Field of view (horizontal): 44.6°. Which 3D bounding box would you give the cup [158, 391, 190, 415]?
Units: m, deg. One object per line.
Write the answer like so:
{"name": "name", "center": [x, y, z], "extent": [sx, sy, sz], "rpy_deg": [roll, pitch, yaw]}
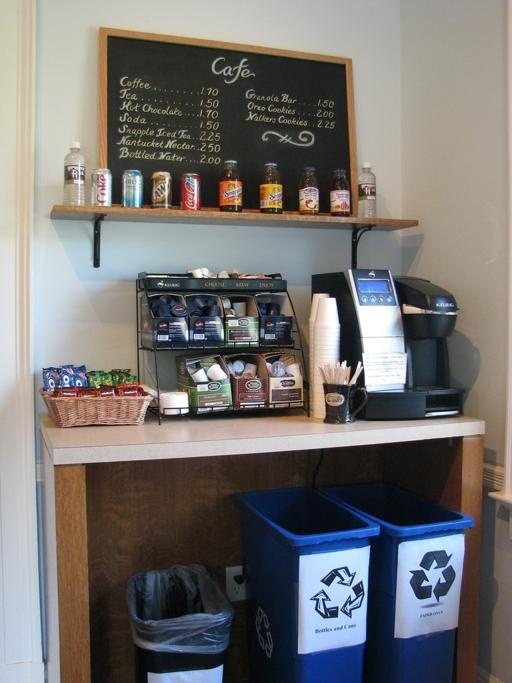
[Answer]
{"name": "cup", "center": [-0.218, 0.165, 1.656], "extent": [0.061, 0.041, 0.062], "rpy_deg": [0, -1, 0]}

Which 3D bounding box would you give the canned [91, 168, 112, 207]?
{"name": "canned", "center": [-0.443, -0.437, 1.785], "extent": [0.060, 0.113, 0.162], "rpy_deg": [-3, 6, -13]}

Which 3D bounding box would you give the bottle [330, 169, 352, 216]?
{"name": "bottle", "center": [0.274, -0.484, 2.030], "extent": [0.060, 0.148, 0.106], "rpy_deg": [-1, 6, 7]}

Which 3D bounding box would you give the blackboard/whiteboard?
{"name": "blackboard/whiteboard", "center": [-0.120, -0.696, 1.971], "extent": [0.675, 0.452, 0.028], "rpy_deg": [0, -3, -24]}

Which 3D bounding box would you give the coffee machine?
{"name": "coffee machine", "center": [0.510, 0.001, 1.771], "extent": [0.255, 0.378, 0.250], "rpy_deg": [-3, 6, -9]}

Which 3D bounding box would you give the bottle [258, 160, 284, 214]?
{"name": "bottle", "center": [0.045, -0.487, 1.972], "extent": [0.073, 0.173, 0.189], "rpy_deg": [-2, 6, 0]}

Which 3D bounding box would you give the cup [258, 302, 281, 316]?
{"name": "cup", "center": [0.036, -0.099, 1.877], "extent": [0.045, 0.021, 0.047], "rpy_deg": [3, -2, 0]}

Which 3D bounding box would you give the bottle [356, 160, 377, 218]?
{"name": "bottle", "center": [0.375, -0.506, 2.100], "extent": [0.055, 0.178, 0.129], "rpy_deg": [-1, 6, 10]}

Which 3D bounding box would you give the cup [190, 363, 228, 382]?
{"name": "cup", "center": [-0.128, 0.085, 1.707], "extent": [0.097, 0.044, 0.049], "rpy_deg": [-3, 6, -5]}

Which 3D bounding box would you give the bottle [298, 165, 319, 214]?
{"name": "bottle", "center": [0.169, -0.483, 1.999], "extent": [0.064, 0.156, 0.119], "rpy_deg": [-2, 6, 5]}

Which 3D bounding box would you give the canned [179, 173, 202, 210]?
{"name": "canned", "center": [-0.195, -0.447, 1.850], "extent": [0.057, 0.122, 0.113], "rpy_deg": [-3, 6, -7]}

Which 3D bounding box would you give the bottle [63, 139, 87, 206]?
{"name": "bottle", "center": [-0.517, -0.470, 1.759], "extent": [0.061, 0.180, 0.134], "rpy_deg": [-4, 6, -17]}

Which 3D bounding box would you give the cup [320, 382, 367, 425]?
{"name": "cup", "center": [0.238, 0.159, 1.661], "extent": [0.126, 0.112, 0.089], "rpy_deg": [-5, 7, -28]}

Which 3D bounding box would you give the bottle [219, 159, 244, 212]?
{"name": "bottle", "center": [-0.077, -0.472, 1.892], "extent": [0.070, 0.155, 0.086], "rpy_deg": [-2, 6, -4]}

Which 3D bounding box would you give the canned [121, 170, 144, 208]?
{"name": "canned", "center": [-0.362, -0.443, 1.826], "extent": [0.063, 0.119, 0.173], "rpy_deg": [-3, 6, -9]}

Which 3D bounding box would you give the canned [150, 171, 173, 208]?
{"name": "canned", "center": [-0.283, -0.452, 1.866], "extent": [0.064, 0.120, 0.159], "rpy_deg": [-3, 6, -8]}
